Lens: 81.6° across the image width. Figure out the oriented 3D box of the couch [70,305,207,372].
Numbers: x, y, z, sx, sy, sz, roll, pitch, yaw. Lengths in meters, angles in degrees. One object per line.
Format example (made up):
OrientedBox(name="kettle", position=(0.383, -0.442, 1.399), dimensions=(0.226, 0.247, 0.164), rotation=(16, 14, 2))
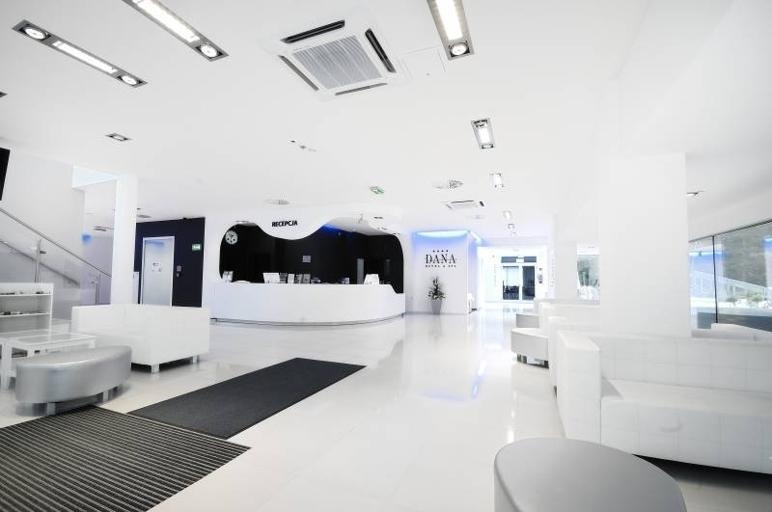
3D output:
OrientedBox(name="couch", position=(-4.126, 1.333, 8.004), dimensions=(1.771, 0.933, 1.257), rotation=(0, -7, 24))
